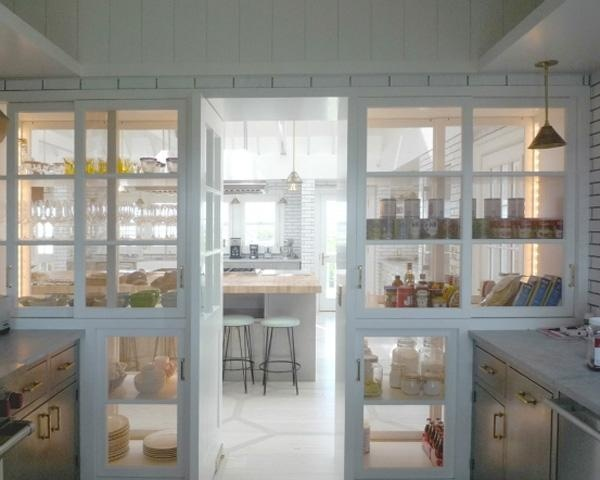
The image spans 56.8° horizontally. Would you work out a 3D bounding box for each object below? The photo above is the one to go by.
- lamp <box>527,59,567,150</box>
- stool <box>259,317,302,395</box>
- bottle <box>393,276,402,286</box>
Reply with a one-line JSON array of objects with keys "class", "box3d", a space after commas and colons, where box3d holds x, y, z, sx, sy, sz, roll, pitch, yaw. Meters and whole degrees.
[{"class": "lamp", "box3d": [1.471, -0.799, 3.280, 0.196, 0.539, 0.555, 5, 6, 24]}, {"class": "stool", "box3d": [-0.195, 1.077, 5.321, 0.546, 0.876, 0.575, 1, -3, -3]}, {"class": "bottle", "box3d": [0.607, 0.259, 3.468, 0.058, 0.068, 0.058, 1, 4, 12]}]
